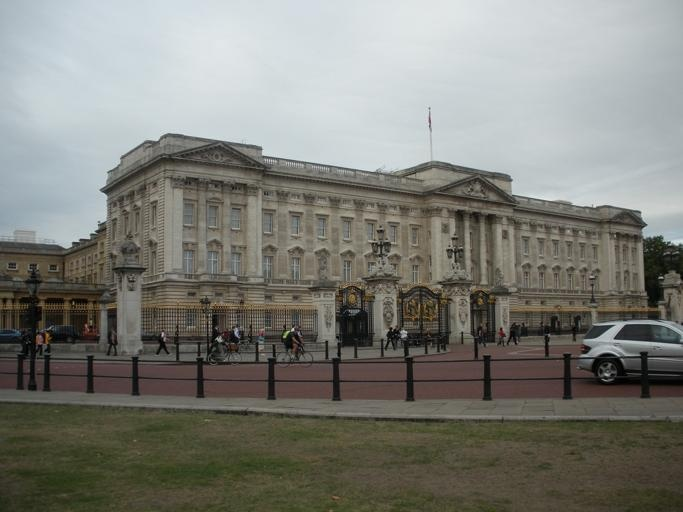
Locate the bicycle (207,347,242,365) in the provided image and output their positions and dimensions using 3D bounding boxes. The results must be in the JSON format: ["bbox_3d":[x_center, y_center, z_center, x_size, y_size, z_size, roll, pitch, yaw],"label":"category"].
[{"bbox_3d":[-4.951,4.152,36.599,1.450,0.835,0.698,-1,-11,-2],"label":"bicycle"}]

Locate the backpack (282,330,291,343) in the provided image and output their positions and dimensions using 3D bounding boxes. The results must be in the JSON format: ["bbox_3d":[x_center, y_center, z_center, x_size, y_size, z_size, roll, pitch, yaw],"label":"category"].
[{"bbox_3d":[-2.109,3.072,33.415,0.292,0.380,0.395,-3,13,-1],"label":"backpack"}]

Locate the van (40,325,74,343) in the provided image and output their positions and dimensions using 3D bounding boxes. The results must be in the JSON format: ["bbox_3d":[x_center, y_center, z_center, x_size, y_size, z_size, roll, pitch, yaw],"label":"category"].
[{"bbox_3d":[-18.867,5.149,58.232,2.360,0.938,1.253,5,-5,-4],"label":"van"}]

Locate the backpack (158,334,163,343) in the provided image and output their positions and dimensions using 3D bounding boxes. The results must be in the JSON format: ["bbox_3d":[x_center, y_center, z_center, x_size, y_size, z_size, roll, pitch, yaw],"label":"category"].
[{"bbox_3d":[-8.658,3.892,42.037,0.201,0.390,0.630,1,-8,-16],"label":"backpack"}]

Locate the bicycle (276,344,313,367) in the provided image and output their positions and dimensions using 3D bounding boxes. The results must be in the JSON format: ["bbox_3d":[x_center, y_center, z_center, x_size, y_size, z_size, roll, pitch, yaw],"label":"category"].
[{"bbox_3d":[-1.959,3.870,34.126,1.830,1.078,0.895,-3,-6,13],"label":"bicycle"}]
